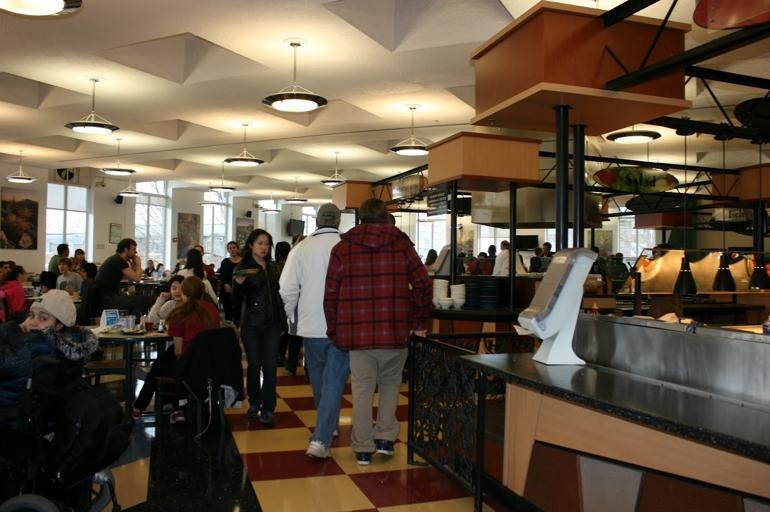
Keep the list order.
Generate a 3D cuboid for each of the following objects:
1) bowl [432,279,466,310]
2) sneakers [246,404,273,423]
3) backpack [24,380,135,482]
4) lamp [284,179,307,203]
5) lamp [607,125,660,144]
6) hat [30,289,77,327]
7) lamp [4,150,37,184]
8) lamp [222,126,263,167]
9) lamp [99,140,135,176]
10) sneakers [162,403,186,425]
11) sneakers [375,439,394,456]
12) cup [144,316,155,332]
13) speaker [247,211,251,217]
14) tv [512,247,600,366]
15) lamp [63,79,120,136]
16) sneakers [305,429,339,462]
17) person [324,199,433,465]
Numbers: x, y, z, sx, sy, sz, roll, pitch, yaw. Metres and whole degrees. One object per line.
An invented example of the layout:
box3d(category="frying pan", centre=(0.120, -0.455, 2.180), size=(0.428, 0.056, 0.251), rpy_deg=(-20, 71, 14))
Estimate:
box3d(category="bowl", centre=(0.682, 0.402, 6.535), size=(0.359, 0.314, 0.279), rpy_deg=(-3, -7, 15))
box3d(category="sneakers", centre=(-1.211, 1.525, 5.886), size=(0.131, 0.139, 0.345), rpy_deg=(2, -10, -28))
box3d(category="backpack", centre=(-1.974, 1.156, 4.036), size=(0.517, 0.589, 0.329), rpy_deg=(-3, 9, -8))
box3d(category="lamp", centre=(-3.134, -2.112, 21.467), size=(0.696, 0.709, 0.668), rpy_deg=(0, -4, 12))
box3d(category="lamp", centre=(3.914, -1.925, 9.564), size=(0.688, 0.260, 1.635), rpy_deg=(2, 9, 23))
box3d(category="hat", centre=(-2.304, 0.299, 4.257), size=(0.155, 0.161, 0.197), rpy_deg=(16, 14, 27))
box3d(category="lamp", centre=(-8.885, -2.171, 14.804), size=(0.852, 0.842, 0.811), rpy_deg=(0, 0, -17))
box3d(category="lamp", centre=(-2.742, -2.211, 11.957), size=(0.757, 0.736, 0.727), rpy_deg=(0, 5, -16))
box3d(category="lamp", centre=(-6.256, -2.317, 14.233), size=(0.864, 0.871, 0.837), rpy_deg=(0, -2, -23))
box3d(category="sneakers", centre=(-2.062, 1.550, 5.969), size=(0.289, 0.109, 0.386), rpy_deg=(0, 2, -19))
box3d(category="sneakers", centre=(-0.009, 1.564, 4.984), size=(0.083, 0.099, 0.233), rpy_deg=(1, -2, 7))
box3d(category="cup", centre=(-2.388, 0.700, 6.210), size=(0.126, 0.178, 0.128), rpy_deg=(-2, -2, 0))
box3d(category="speaker", centre=(-5.201, -1.597, 23.339), size=(0.181, 0.186, 0.173), rpy_deg=(0, 4, -24))
box3d(category="tv", centre=(1.093, 0.318, 3.936), size=(0.460, 0.748, 0.236), rpy_deg=(-4, 9, -13))
box3d(category="lamp", centre=(-4.894, -2.516, 10.189), size=(0.961, 0.911, 0.885), rpy_deg=(3, -2, -7))
box3d(category="sneakers", centre=(-0.526, 1.598, 5.094), size=(0.129, 0.147, 0.338), rpy_deg=(7, -13, 16))
box3d(category="person", centre=(-0.052, 0.609, 4.936), size=(0.857, 2.113, 0.418), rpy_deg=(-3, 9, -7))
